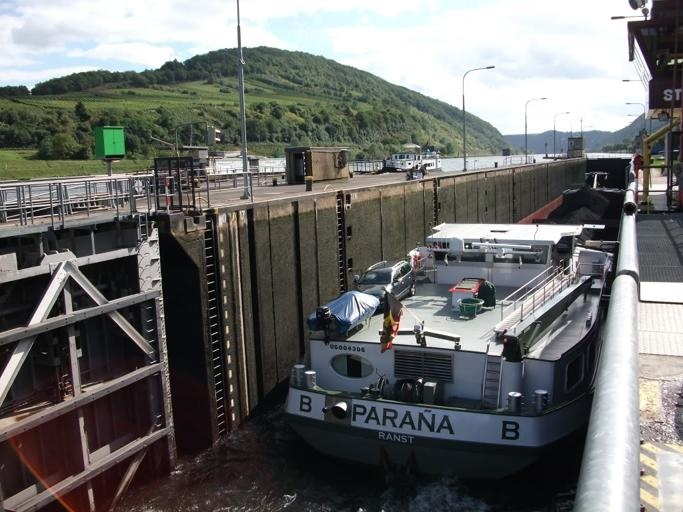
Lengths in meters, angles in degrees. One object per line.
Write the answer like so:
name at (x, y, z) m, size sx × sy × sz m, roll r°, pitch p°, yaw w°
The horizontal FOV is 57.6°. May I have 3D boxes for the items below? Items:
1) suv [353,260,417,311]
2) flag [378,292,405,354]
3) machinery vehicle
suv at (1.503, 0.820, 19.270) m, size 1.067 × 0.827 × 1.975 m, roll 2°, pitch 8°, yaw 29°
flag at (1.190, 1.621, 15.427) m, size 0.527 × 1.587 × 0.689 m, roll 1°, pitch 12°, yaw 19°
machinery vehicle at (4.429, 1.844, 18.787) m, size 6.519 × 4.853 × 11.598 m, roll 4°, pitch 15°, yaw 31°
